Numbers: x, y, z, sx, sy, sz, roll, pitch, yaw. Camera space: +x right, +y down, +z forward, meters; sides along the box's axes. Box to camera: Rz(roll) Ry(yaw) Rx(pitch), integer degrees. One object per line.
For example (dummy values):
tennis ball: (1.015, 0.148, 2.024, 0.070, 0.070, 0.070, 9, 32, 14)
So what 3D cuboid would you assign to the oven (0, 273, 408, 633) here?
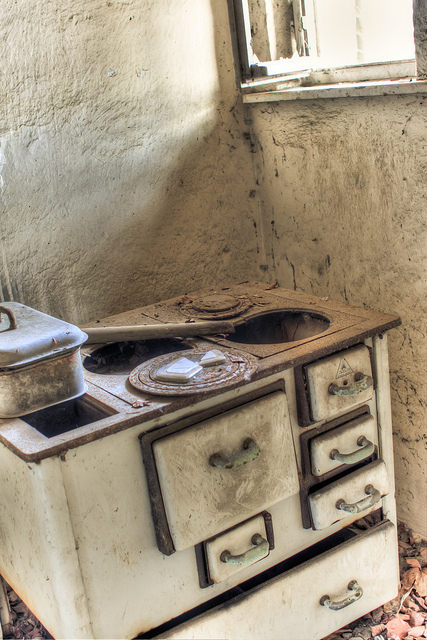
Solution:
oven: (-0.012, 0.357, 1.526, 0.568, 0.737, 0.849, 20, 33, 40)

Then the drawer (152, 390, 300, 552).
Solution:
drawer: (-0.011, 0.344, 1.484, 0.375, 0.277, 0.229, -12, 10, -36)
